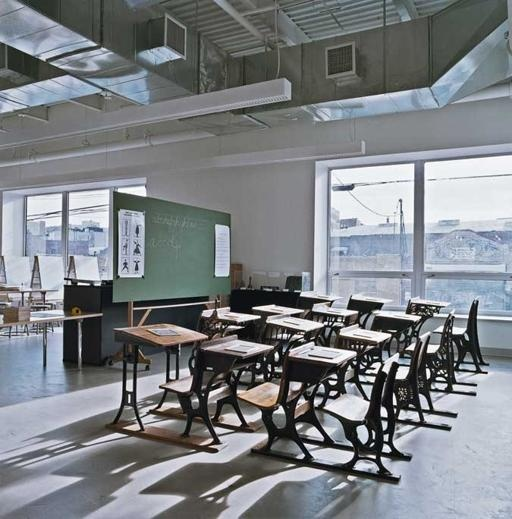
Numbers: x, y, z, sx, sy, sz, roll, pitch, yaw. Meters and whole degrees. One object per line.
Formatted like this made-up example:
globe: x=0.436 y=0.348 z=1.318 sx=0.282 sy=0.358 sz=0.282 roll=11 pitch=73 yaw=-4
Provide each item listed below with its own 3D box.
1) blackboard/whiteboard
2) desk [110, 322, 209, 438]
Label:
blackboard/whiteboard: x=-1.240 y=-0.115 z=6.995 sx=0.036 sy=1.185 sz=2.140 roll=-1 pitch=-3 yaw=27
desk: x=-0.827 y=0.904 z=4.384 sx=0.848 sy=1.187 sz=1.067 roll=-3 pitch=-5 yaw=24
